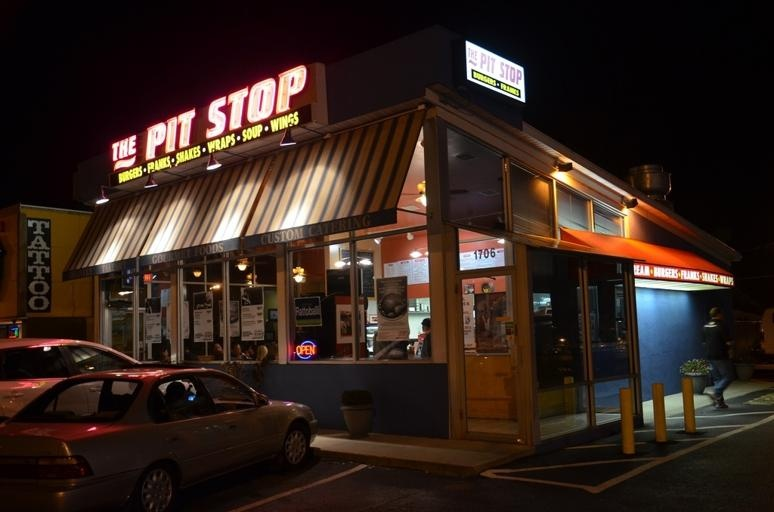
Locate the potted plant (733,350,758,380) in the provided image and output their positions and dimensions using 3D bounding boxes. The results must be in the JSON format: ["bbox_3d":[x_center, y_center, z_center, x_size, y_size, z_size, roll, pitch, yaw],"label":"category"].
[{"bbox_3d":[13.063,4.050,25.848,0.655,0.846,1.040,3,11,26],"label":"potted plant"}]

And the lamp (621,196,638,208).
[{"bbox_3d":[8.219,-1.800,23.835,0.427,0.477,1.025,5,12,32],"label":"lamp"}]

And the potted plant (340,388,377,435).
[{"bbox_3d":[-0.508,3.430,16.124,0.795,0.873,0.798,-5,5,20],"label":"potted plant"}]

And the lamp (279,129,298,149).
[{"bbox_3d":[-2.476,-2.858,17.559,0.589,0.551,0.377,1,-9,-5],"label":"lamp"}]

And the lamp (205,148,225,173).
[{"bbox_3d":[-4.687,-2.568,18.994,0.497,0.483,0.469,-7,-1,-26],"label":"lamp"}]

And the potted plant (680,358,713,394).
[{"bbox_3d":[9.492,3.679,21.734,0.924,0.875,0.911,2,-7,-26],"label":"potted plant"}]

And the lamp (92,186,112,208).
[{"bbox_3d":[-9.235,-1.941,22.804,0.809,0.776,0.776,0,-7,-15],"label":"lamp"}]

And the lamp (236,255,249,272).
[{"bbox_3d":[-3.947,0.184,19.199,0.378,0.340,0.368,10,-13,-42],"label":"lamp"}]

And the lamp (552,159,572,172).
[{"bbox_3d":[5.025,-2.599,20.183,0.544,0.276,0.372,0,-4,-7],"label":"lamp"}]

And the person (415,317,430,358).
[{"bbox_3d":[0.834,1.834,16.019,0.400,0.901,0.296,1,11,17],"label":"person"}]

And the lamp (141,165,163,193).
[{"bbox_3d":[-7.018,-2.258,20.905,0.571,0.562,0.552,-1,-5,-5],"label":"lamp"}]
